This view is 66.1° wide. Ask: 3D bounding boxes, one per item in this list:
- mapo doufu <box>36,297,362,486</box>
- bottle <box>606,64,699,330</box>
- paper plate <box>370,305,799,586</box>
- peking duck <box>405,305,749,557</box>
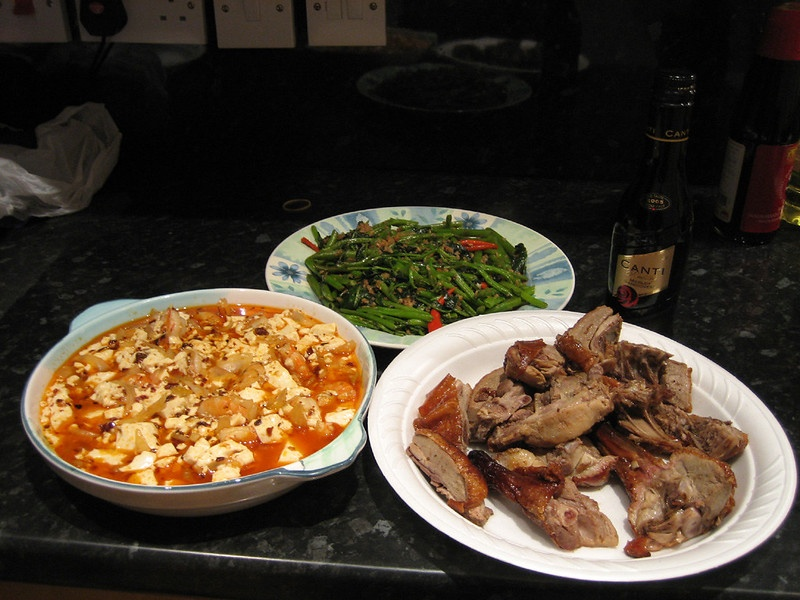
[{"bbox_3d":[-0.528,0.258,2.031,1.265,0.373,0.820,-6,23,-13],"label":"mapo doufu"},{"bbox_3d":[0.770,-0.313,1.990,0.320,0.779,0.331,1,28,-1],"label":"bottle"},{"bbox_3d":[0.477,0.350,1.697,1.098,0.189,0.894,7,36,12],"label":"paper plate"},{"bbox_3d":[0.442,0.389,1.644,0.794,0.175,0.556,3,53,0],"label":"peking duck"}]
